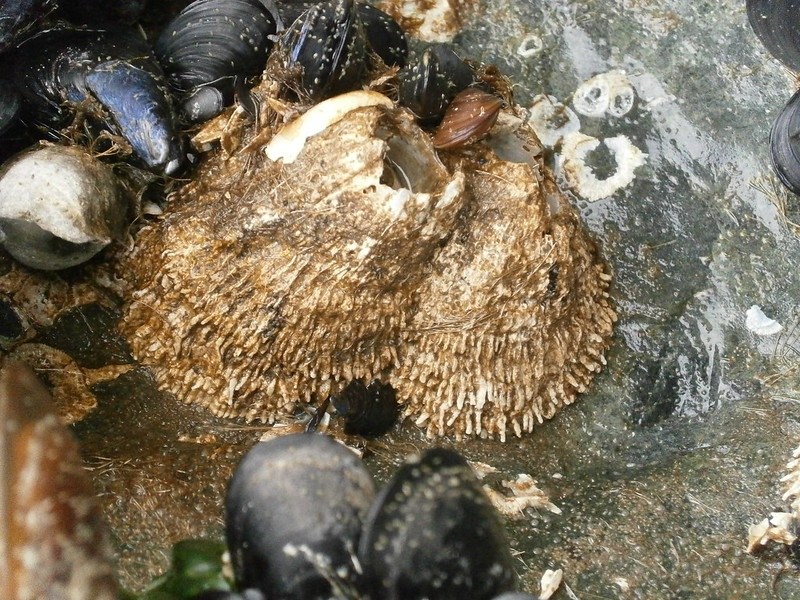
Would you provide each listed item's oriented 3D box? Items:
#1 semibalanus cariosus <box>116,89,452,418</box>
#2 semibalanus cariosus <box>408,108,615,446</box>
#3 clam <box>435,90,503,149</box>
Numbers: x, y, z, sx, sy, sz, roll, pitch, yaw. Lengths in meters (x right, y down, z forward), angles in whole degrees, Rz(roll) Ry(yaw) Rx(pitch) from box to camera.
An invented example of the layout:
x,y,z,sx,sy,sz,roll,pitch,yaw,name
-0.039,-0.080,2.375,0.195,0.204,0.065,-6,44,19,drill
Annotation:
x,y,z,sx,sy,sz,roll,pitch,yaw,name
-0.613,-0.179,6.119,1.631,1.424,1.163,5,55,-13,semibalanus cariosus
0.590,-0.211,6.739,1.554,1.603,1.525,1,29,6,semibalanus cariosus
0.314,-0.993,6.292,0.431,0.285,0.327,-5,22,-14,clam
